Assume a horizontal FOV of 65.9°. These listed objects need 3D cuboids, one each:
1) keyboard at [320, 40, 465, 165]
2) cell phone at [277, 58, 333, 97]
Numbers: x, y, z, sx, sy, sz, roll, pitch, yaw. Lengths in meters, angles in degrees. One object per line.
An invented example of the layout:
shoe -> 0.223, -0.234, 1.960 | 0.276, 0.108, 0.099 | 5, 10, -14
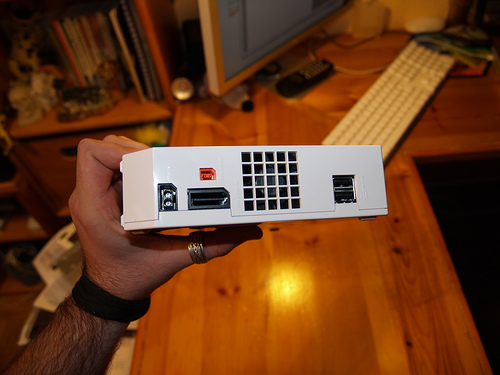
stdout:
keyboard -> 0.467, -0.275, 1.216 | 0.181, 0.075, 0.586 | 35, 64, 24
cell phone -> 0.196, -0.373, 1.349 | 0.204, 0.050, 0.106 | -32, 60, -5
